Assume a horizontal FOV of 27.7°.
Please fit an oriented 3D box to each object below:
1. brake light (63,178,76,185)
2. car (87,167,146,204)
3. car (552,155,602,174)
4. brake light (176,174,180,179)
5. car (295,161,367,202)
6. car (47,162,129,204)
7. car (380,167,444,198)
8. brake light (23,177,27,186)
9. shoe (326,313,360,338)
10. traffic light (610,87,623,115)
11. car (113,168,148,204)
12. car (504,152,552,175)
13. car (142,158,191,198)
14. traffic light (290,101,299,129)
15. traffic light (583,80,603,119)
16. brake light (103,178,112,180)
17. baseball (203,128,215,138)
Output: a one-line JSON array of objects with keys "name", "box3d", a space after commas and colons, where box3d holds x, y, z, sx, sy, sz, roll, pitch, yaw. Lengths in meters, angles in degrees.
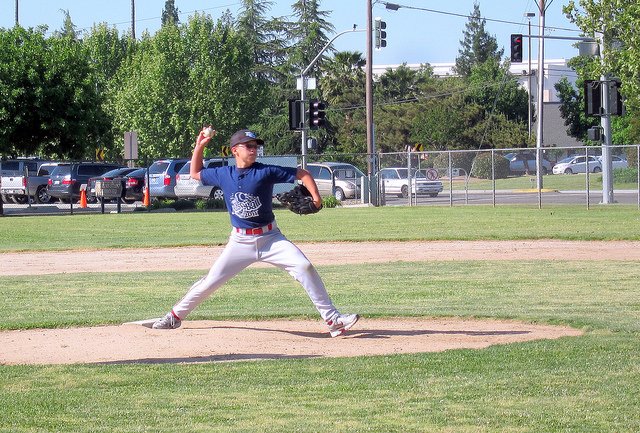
[{"name": "brake light", "box3d": [-11.389, -1.666, 59.134, 0.612, 0.263, 0.141, 0, 0, 17]}, {"name": "car", "box3d": [-9.250, -1.579, 58.761, 2.744, 0.859, 1.224, -2, 4, -27]}, {"name": "car", "box3d": [15.634, -3.501, 78.093, 3.027, 1.265, 1.795, 2, 2, 19]}, {"name": "brake light", "box3d": [-6.068, -1.751, 55.684, 0.160, 0.200, 0.074, 5, 4, 11]}, {"name": "car", "box3d": [0.319, -1.655, 60.481, 3.308, 1.491, 1.743, 2, 6, 28]}, {"name": "car", "box3d": [-10.921, -1.629, 59.930, 1.957, 1.716, 4.649, 0, 0, 28]}, {"name": "car", "box3d": [4.231, -1.796, 64.347, 2.110, 1.373, 3.569, -6, 6, -44]}, {"name": "brake light", "box3d": [-13.247, -1.603, 58.450, 0.138, 0.339, 0.095, -1, 0, -11]}, {"name": "shoe", "box3d": [0.539, 2.495, 30.917, 0.891, 0.431, 0.362, -29, 28, 20]}, {"name": "traffic light", "box3d": [11.324, -4.477, 49.701, 0.398, 1.020, 0.724, 0, 0, 23]}, {"name": "car", "box3d": [-8.302, -1.448, 57.243, 1.682, 1.104, 3.457, -1, 3, -8]}, {"name": "car", "box3d": [12.770, -3.375, 79.652, 3.079, 1.132, 1.441, 3, 0, -17]}, {"name": "car", "box3d": [-6.391, -1.762, 57.232, 1.710, 1.496, 3.091, 6, 9, 28]}, {"name": "traffic light", "box3d": [-1.014, -4.204, 52.638, 0.360, 1.046, 0.478, -1, 0, -1]}, {"name": "traffic light", "box3d": [10.451, -4.612, 49.594, 0.660, 1.334, 0.935, 0, 0, 12]}, {"name": "brake light", "box3d": [-9.045, -1.652, 55.504, 0.206, 0.051, 0.199, -1, -1, 14]}, {"name": "baseball", "box3d": [-2.605, -2.001, 30.589, 0.150, 0.210, 0.189, 8, -45, -21]}]
